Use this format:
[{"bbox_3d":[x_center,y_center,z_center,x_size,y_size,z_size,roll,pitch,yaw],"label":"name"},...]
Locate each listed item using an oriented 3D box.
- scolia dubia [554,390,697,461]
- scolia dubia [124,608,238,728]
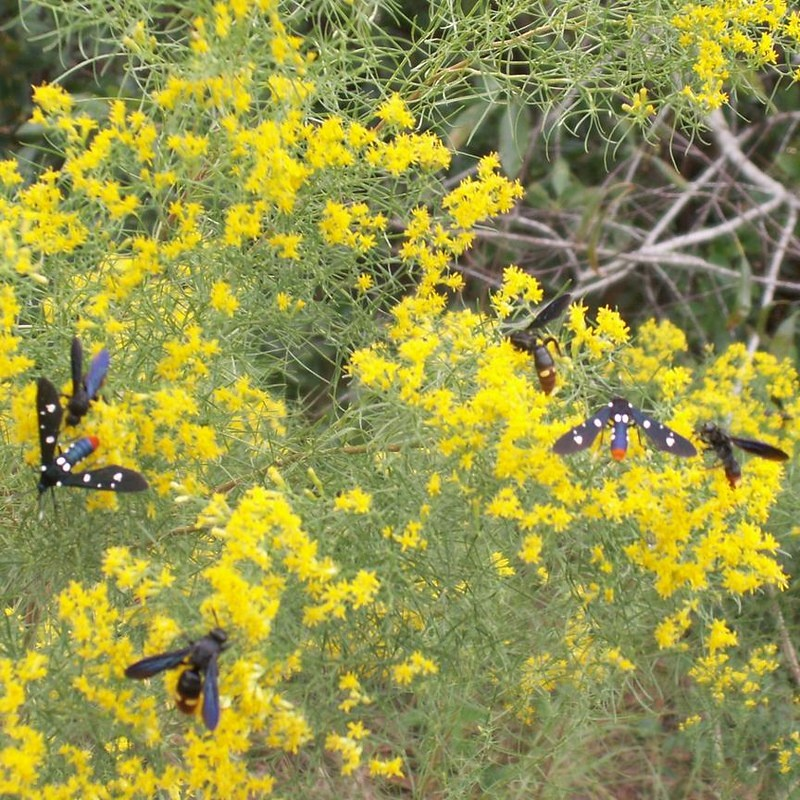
[{"bbox_3d":[0.527,0.069,2.880,0.302,0.082,0.154,-3,43,20],"label":"scolia dubia"},{"bbox_3d":[-0.480,0.603,2.857,0.219,0.090,0.289,37,37,-12],"label":"scolia dubia"}]
